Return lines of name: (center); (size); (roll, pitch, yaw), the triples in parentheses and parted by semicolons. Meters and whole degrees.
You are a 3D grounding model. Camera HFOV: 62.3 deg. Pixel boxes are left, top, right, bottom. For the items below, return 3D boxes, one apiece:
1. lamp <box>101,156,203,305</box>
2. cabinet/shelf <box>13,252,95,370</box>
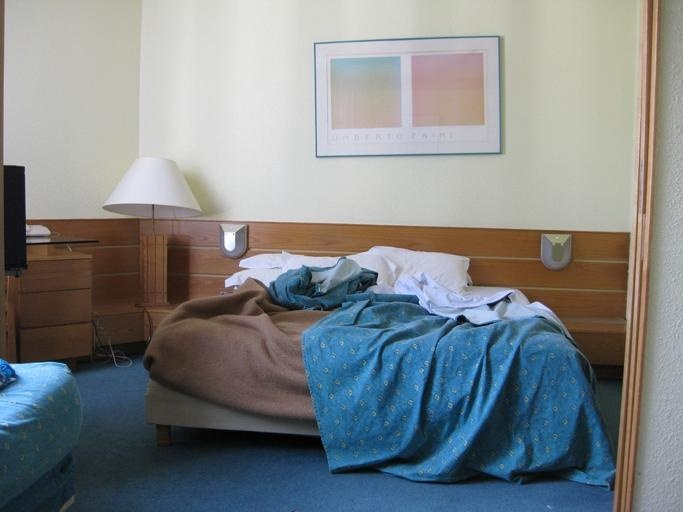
lamp: (-1.414, -0.152, 4.209); (0.658, 1.139, 0.685); (-4, -4, 13)
cabinet/shelf: (-1.947, 0.326, 3.744); (0.511, 0.895, 0.636); (-1, 1, -37)
